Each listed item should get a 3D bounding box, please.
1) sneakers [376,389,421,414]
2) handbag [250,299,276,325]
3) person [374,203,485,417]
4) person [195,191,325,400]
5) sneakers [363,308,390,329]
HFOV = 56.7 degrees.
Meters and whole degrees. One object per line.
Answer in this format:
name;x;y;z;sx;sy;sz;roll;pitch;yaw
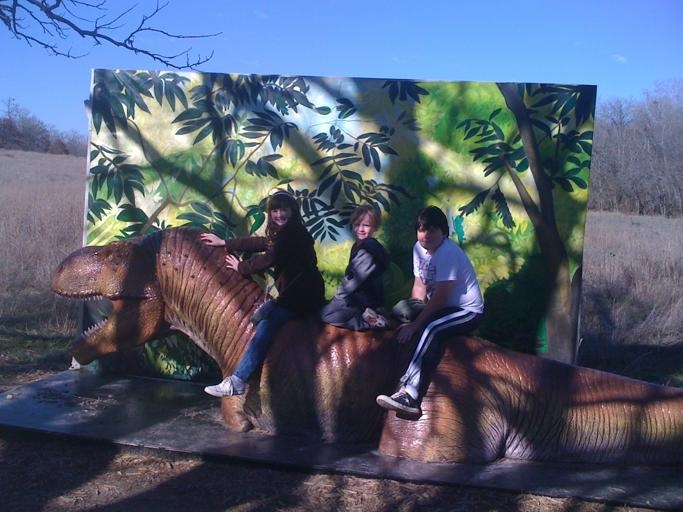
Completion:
sneakers;0.559;1.433;6.152;0.418;0.270;0.219;3;4;6
handbag;-0.847;0.594;6.753;0.093;0.309;0.172;32;18;-33
person;0.890;0.541;6.385;1.048;2.077;0.433;0;5;-30
person;-0.761;0.404;6.910;1.145;2.200;0.983;2;4;-2
sneakers;0.349;0.662;6.540;0.161;0.094;0.261;12;21;-45
